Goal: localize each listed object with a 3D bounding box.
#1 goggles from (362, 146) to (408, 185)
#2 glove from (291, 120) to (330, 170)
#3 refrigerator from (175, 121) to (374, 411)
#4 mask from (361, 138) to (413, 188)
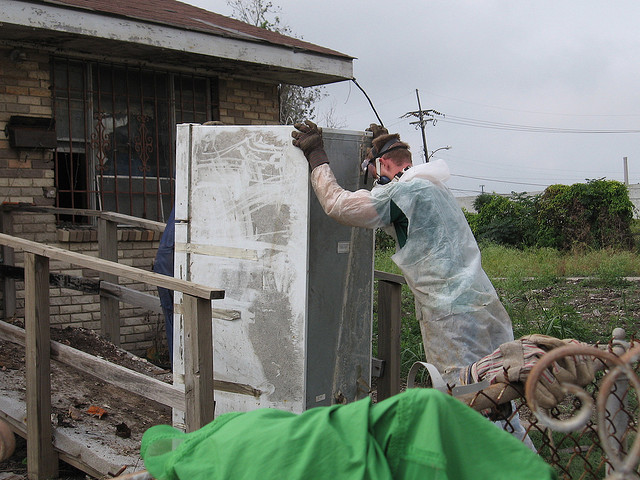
[{"bbox_3d":[0.398,-0.466,3.710,0.194,0.276,0.096,-3,43,-44],"label":"goggles"},{"bbox_3d":[-0.061,-0.562,3.528,0.236,0.286,0.132,5,4,36],"label":"glove"},{"bbox_3d":[-0.227,0.252,3.929,1.279,2.709,0.762,0,0,37],"label":"refrigerator"},{"bbox_3d":[0.433,-0.504,3.760,0.224,0.340,0.230,-5,15,-45],"label":"mask"}]
